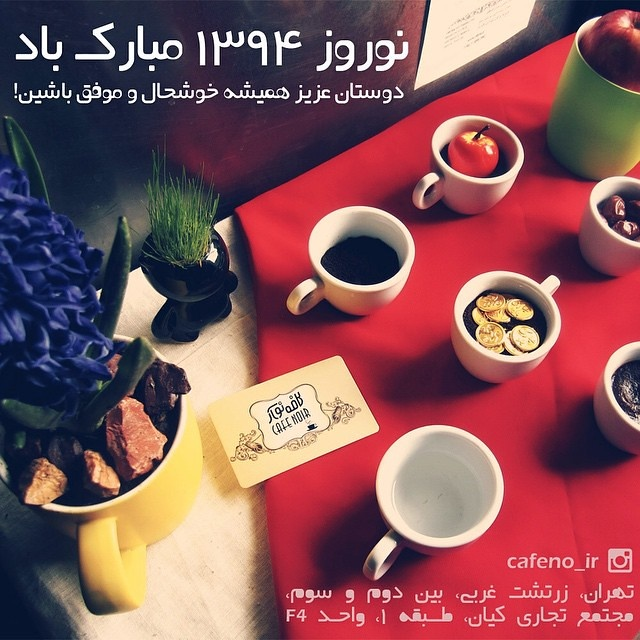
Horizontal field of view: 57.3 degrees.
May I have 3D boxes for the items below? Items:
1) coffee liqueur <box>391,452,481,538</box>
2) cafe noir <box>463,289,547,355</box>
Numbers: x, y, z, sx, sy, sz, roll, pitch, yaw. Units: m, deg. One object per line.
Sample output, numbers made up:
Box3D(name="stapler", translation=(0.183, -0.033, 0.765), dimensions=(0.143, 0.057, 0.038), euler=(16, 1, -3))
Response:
Box3D(name="coffee liqueur", translation=(0.118, 0.165, 0.636), dimensions=(0.098, 0.069, 0.102), euler=(13, 66, 13))
Box3D(name="cafe noir", translation=(0.198, 0.006, 0.636), dimensions=(0.063, 0.012, 0.067), euler=(-35, 63, -11))
